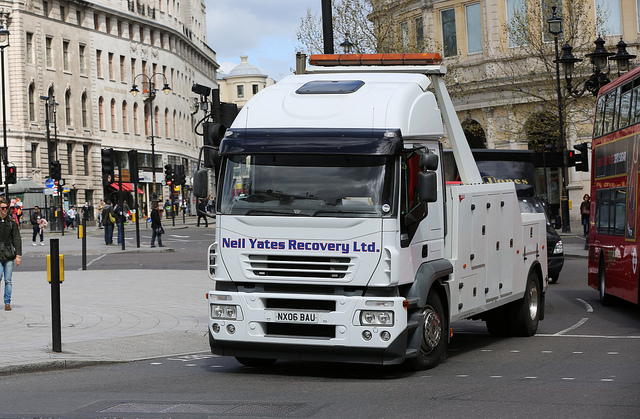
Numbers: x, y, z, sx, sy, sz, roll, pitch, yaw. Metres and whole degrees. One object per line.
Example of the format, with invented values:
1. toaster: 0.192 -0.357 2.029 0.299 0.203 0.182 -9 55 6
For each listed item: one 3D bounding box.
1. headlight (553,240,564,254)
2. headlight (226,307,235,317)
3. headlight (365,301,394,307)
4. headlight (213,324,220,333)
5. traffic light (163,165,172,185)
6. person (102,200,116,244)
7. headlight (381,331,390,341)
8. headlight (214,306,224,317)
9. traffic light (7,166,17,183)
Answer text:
1. headlight: 6.893 1.079 26.454 0.183 0.368 0.701 -1 3 27
2. headlight: -1.540 1.742 15.671 0.137 0.181 0.249 -3 -11 3
3. headlight: 0.972 1.544 15.134 0.473 0.094 0.047 -2 3 -2
4. headlight: -1.795 2.017 15.752 0.149 0.149 0.053 4 4 6
5. traffic light: -10.452 -2.378 62.840 0.456 1.332 2.631 -3 3 -9
6. person: -9.938 0.625 43.180 0.780 2.068 0.705 -4 -2 39
7. headlight: 1.077 2.075 15.157 0.135 0.143 0.142 0 3 -3
8. headlight: -1.747 1.725 15.724 0.183 0.219 0.080 -2 -2 25
9. traffic light: -15.506 -1.736 45.779 0.384 0.786 2.005 -3 3 -19
